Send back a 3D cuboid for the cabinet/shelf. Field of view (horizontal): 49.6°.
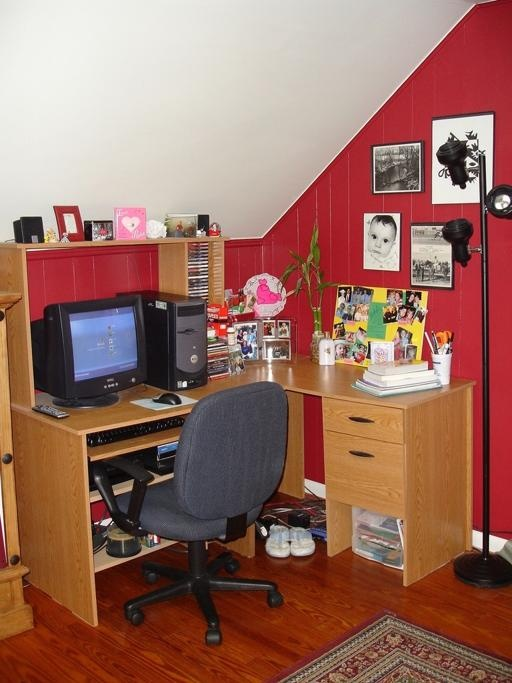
[{"bbox_3d":[-0.118,0.261,2.447,1.582,1.578,1.629,9,15,44],"label":"cabinet/shelf"}]

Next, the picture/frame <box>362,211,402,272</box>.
[{"bbox_3d":[0.621,-0.493,2.681,0.039,0.389,0.281,-5,9,-39],"label":"picture/frame"}]

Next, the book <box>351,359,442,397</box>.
[{"bbox_3d":[0.586,0.142,2.251,0.219,0.074,0.166,-11,17,-36],"label":"book"}]

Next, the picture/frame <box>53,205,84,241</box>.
[{"bbox_3d":[-0.714,-0.452,2.105,0.017,0.168,0.133,-1,9,37],"label":"picture/frame"}]

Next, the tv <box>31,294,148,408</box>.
[{"bbox_3d":[-0.699,0.031,2.284,0.346,0.424,0.435,7,11,41],"label":"tv"}]

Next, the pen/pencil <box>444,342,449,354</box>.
[{"bbox_3d":[0.819,0.026,2.369,0.019,0.049,0.016,2,-9,19],"label":"pen/pencil"}]

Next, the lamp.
[{"bbox_3d":[0.872,0.043,2.198,0.255,1.820,0.523,-1,2,19],"label":"lamp"}]

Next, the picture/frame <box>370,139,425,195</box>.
[{"bbox_3d":[0.669,-0.820,2.570,0.021,0.235,0.282,-11,15,-42],"label":"picture/frame"}]

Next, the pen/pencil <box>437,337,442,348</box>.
[{"bbox_3d":[0.814,-0.002,2.460,0.020,0.054,0.016,10,-9,-11],"label":"pen/pencil"}]

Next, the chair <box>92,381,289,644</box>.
[{"bbox_3d":[-0.202,0.533,1.933,0.506,0.817,0.589,5,7,30],"label":"chair"}]

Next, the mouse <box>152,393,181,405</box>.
[{"bbox_3d":[-0.332,0.217,2.152,0.088,0.031,0.048,11,16,35],"label":"mouse"}]

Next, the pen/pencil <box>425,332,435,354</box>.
[{"bbox_3d":[0.779,0.004,2.477,0.028,0.106,0.012,-20,2,22],"label":"pen/pencil"}]

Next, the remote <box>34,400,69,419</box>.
[{"bbox_3d":[-0.740,0.242,2.000,0.059,0.040,0.195,-7,13,-37],"label":"remote"}]
